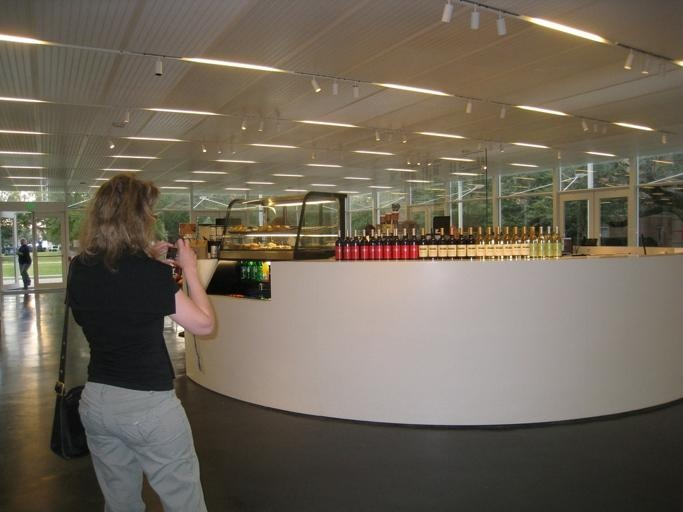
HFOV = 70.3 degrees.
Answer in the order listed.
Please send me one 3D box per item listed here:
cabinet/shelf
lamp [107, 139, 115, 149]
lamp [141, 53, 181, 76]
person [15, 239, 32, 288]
[{"bbox_3d":[-0.669,-0.348,5.954,1.504,0.674,0.763,0,15,12],"label":"cabinet/shelf"},{"bbox_3d":[-4.850,-2.336,10.160,0.096,0.148,0.087,-22,-3,8],"label":"lamp"},{"bbox_3d":[-2.220,-2.348,5.952,0.310,0.189,0.074,-1,5,-17],"label":"lamp"},{"bbox_3d":[-10.871,0.322,16.616,0.394,1.707,0.571,-5,7,-32],"label":"person"}]
